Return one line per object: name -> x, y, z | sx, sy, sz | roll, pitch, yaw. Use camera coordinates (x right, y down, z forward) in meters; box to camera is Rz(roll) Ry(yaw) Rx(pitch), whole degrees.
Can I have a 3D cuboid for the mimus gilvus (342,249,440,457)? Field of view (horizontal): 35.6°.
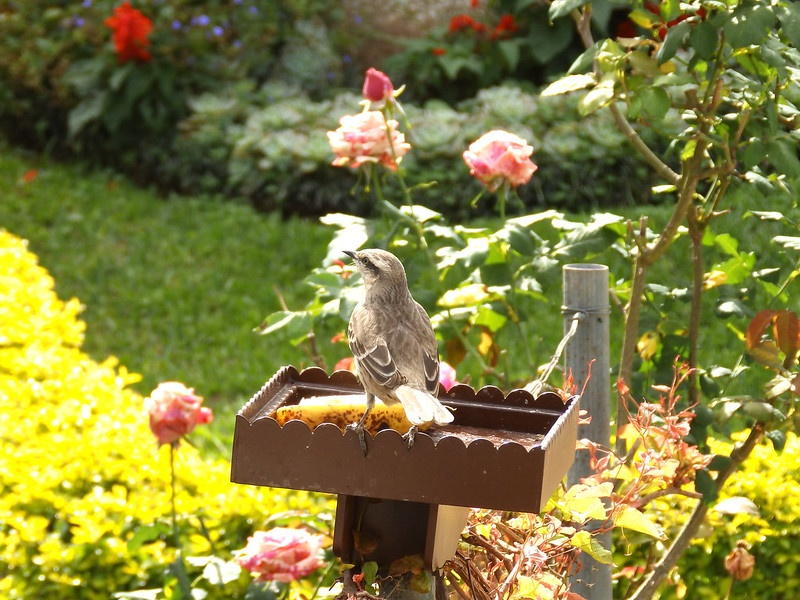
mimus gilvus -> 0.005, 0.145, 3.319 | 0.218, 0.508, 0.662 | 4, 7, -17
